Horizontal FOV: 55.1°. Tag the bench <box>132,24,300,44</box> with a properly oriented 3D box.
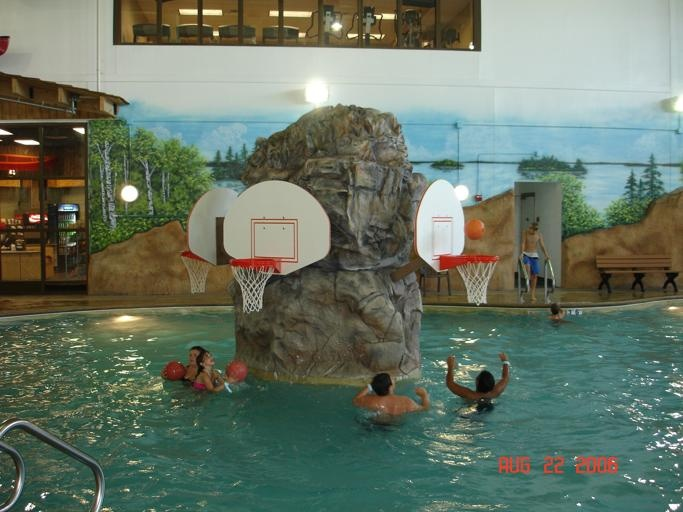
[{"bbox_3d":[-3.173,-5.532,16.342,3.999,0.404,0.227,0,14,-2],"label":"bench"}]

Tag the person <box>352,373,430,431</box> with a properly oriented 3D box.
[{"bbox_3d":[0.678,2.104,9.354,0.543,0.847,0.306,10,45,14],"label":"person"}]

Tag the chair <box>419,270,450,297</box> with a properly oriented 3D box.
[{"bbox_3d":[2.356,0.689,16.246,0.689,0.933,0.695,-1,3,-4],"label":"chair"}]

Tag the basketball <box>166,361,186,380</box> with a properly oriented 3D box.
[{"bbox_3d":[-2.691,1.817,10.408,0.277,0.262,0.313,11,-12,-40],"label":"basketball"}]

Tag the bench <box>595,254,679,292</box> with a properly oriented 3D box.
[{"bbox_3d":[7.588,0.480,16.714,2.150,0.963,1.026,-1,14,-2],"label":"bench"}]

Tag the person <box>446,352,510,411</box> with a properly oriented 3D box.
[{"bbox_3d":[2.008,1.762,9.555,0.953,0.800,0.503,-1,14,-3],"label":"person"}]

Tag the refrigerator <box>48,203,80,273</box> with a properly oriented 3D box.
[{"bbox_3d":[-6.871,-0.438,16.207,0.772,1.663,0.266,-3,15,-12],"label":"refrigerator"}]
